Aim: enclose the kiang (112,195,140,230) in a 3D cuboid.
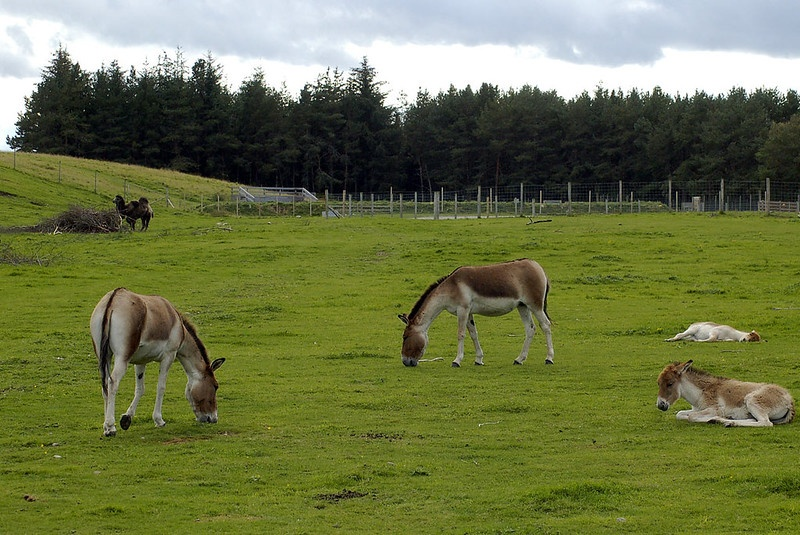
[{"bbox_3d":[-18.030,-3.484,92.211,0.871,2.320,3.336,1,-4,37],"label":"kiang"}]
